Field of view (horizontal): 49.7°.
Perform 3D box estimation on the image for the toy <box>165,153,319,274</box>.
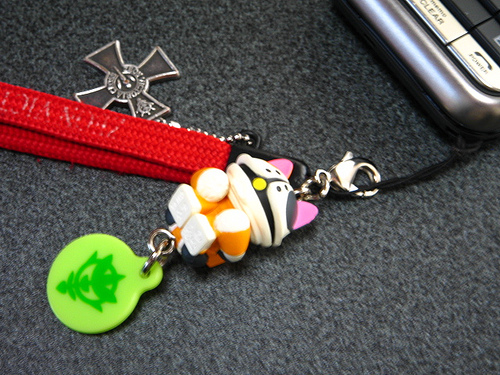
[{"bbox_3d":[-0.009,0.020,0.612,0.159,0.074,0.127,-23,56,-12],"label":"toy"}]
